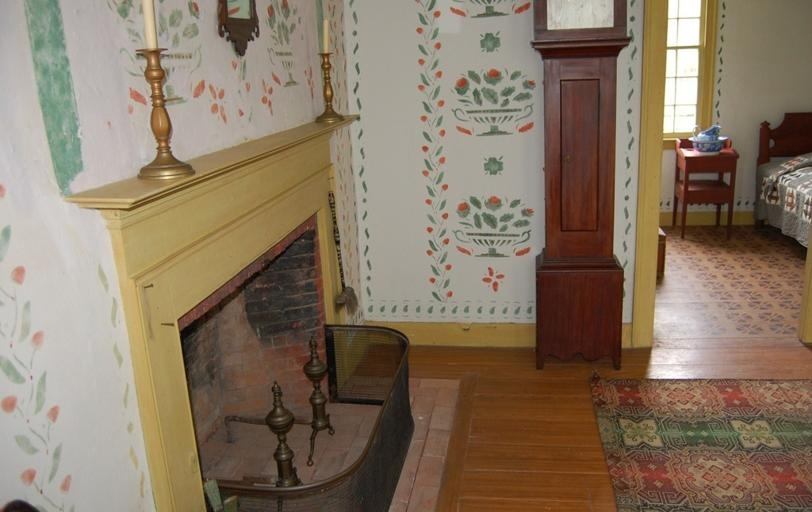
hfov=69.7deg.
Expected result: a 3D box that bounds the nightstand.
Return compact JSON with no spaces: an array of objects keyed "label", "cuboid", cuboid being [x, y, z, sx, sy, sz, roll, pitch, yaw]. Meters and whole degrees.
[{"label":"nightstand","cuboid":[3.665,-0.852,7.171,0.674,1.168,0.708,4,18,22]}]

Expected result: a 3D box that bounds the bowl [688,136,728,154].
[{"label":"bowl","cuboid":[3.621,-1.335,6.938,0.268,0.104,0.261,-5,25,2]}]
